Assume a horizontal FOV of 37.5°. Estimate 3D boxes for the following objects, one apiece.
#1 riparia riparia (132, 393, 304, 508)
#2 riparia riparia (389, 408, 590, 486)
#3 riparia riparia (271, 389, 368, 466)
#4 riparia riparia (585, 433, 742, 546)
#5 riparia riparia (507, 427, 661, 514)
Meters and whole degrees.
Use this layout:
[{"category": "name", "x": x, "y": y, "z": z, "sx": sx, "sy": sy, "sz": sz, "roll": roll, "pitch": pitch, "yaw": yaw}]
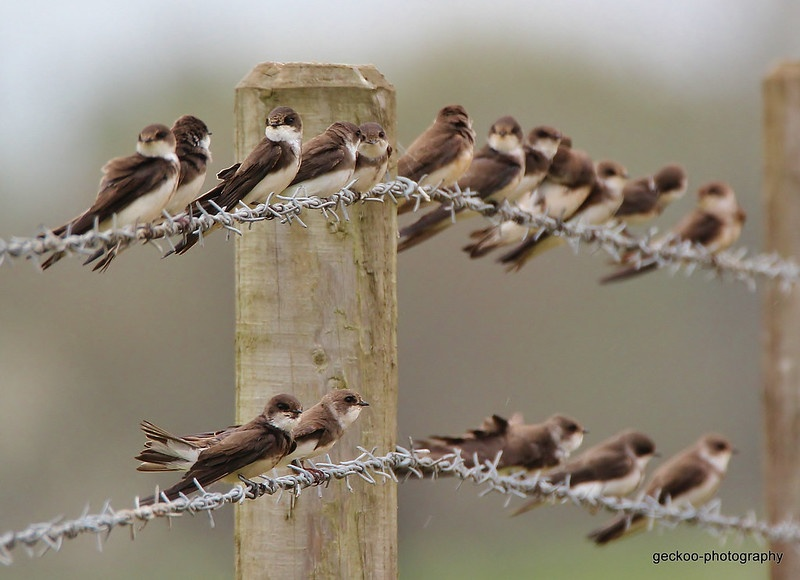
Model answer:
[{"category": "riparia riparia", "x": -0.650, "y": 0.615, "z": 4.554, "sx": 0.677, "sy": 0.516, "sz": 0.326, "roll": 2, "pitch": -11, "yaw": -3}, {"category": "riparia riparia", "x": 0.379, "y": 0.749, "z": 5.325, "sx": 0.878, "sy": 0.420, "sz": 0.310, "roll": 5, "pitch": 7, "yaw": -12}, {"category": "riparia riparia", "x": -0.300, "y": 0.541, "z": 4.642, "sx": 0.383, "sy": 0.248, "sz": 0.196, "roll": -7, "pitch": -3, "yaw": 26}, {"category": "riparia riparia", "x": 1.241, "y": 0.912, "z": 5.490, "sx": 0.652, "sy": 0.433, "sz": 0.239, "roll": -10, "pitch": -6, "yaw": 11}, {"category": "riparia riparia", "x": 0.852, "y": 0.793, "z": 5.298, "sx": 0.605, "sy": 0.317, "sz": 0.215, "roll": 1, "pitch": 9, "yaw": 8}]
